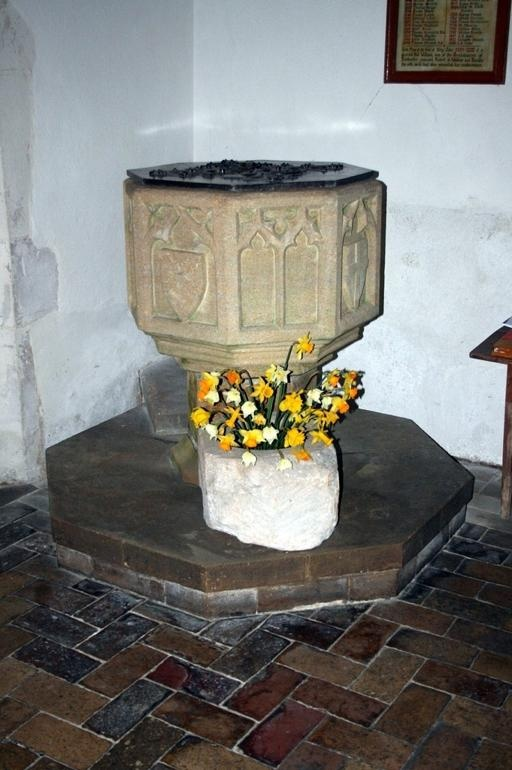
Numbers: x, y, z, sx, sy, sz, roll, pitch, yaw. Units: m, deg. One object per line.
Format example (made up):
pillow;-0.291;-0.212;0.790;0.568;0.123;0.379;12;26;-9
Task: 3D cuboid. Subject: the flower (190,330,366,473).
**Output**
flower;0.026;-0.001;2.407;0.523;0.473;0.454;3;12;21
